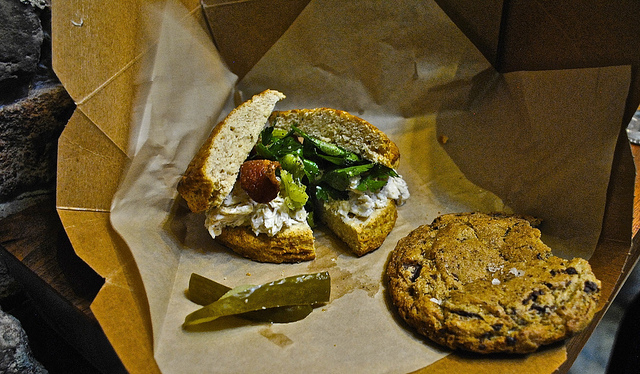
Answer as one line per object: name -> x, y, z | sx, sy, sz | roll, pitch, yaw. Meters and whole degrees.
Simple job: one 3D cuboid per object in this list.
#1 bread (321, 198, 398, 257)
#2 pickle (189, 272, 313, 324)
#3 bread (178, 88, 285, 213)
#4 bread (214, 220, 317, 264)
bread -> 0.259, 0.256, 3.462 | 0.508, 0.236, 0.318 | -1, 38, 0
pickle -> -0.394, 0.653, 3.153 | 0.794, 0.258, 0.191 | 0, 12, -2
bread -> -0.559, -0.249, 3.420 | 0.584, 0.825, 0.453 | 2, 1, 7
bread -> -0.357, 0.364, 3.395 | 0.644, 0.197, 0.162 | 0, 38, 2
